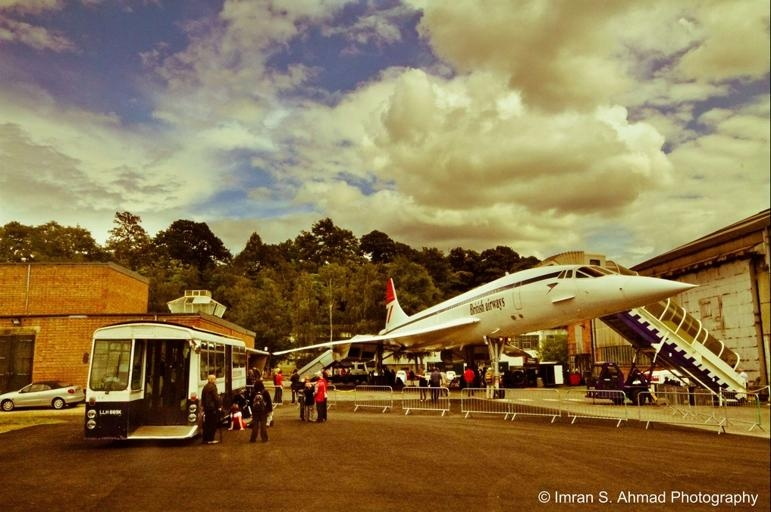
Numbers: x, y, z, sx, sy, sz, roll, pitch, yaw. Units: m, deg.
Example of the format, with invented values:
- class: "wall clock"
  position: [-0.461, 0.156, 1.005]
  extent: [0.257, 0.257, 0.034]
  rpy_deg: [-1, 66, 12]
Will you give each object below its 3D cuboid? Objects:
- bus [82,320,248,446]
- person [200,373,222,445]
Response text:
- class: "bus"
  position: [-6.837, 4.769, 20.255]
  extent: [3.894, 3.896, 8.160]
  rpy_deg: [-10, -19, 30]
- class: "person"
  position: [-5.780, 5.096, 17.990]
  extent: [0.665, 2.154, 0.893]
  rpy_deg: [5, -17, -18]
